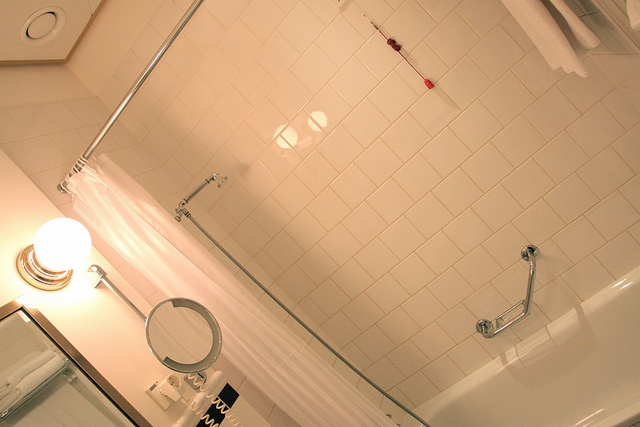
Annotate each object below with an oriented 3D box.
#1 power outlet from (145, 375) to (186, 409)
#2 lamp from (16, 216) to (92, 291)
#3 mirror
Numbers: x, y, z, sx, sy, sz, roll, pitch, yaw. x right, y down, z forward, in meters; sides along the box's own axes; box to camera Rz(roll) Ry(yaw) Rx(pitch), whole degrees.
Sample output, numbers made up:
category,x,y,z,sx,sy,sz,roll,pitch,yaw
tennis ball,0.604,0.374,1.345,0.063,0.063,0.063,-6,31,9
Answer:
category,x,y,z,sx,sy,sz,roll,pitch,yaw
power outlet,-0.878,0.990,2.552,0.222,0.264,0.210,8,-105,-21
lamp,-1.428,0.217,2.466,0.361,0.233,0.304,-37,-73,18
mirror,-0.676,0.595,2.236,0.380,0.230,0.215,35,-68,-12
